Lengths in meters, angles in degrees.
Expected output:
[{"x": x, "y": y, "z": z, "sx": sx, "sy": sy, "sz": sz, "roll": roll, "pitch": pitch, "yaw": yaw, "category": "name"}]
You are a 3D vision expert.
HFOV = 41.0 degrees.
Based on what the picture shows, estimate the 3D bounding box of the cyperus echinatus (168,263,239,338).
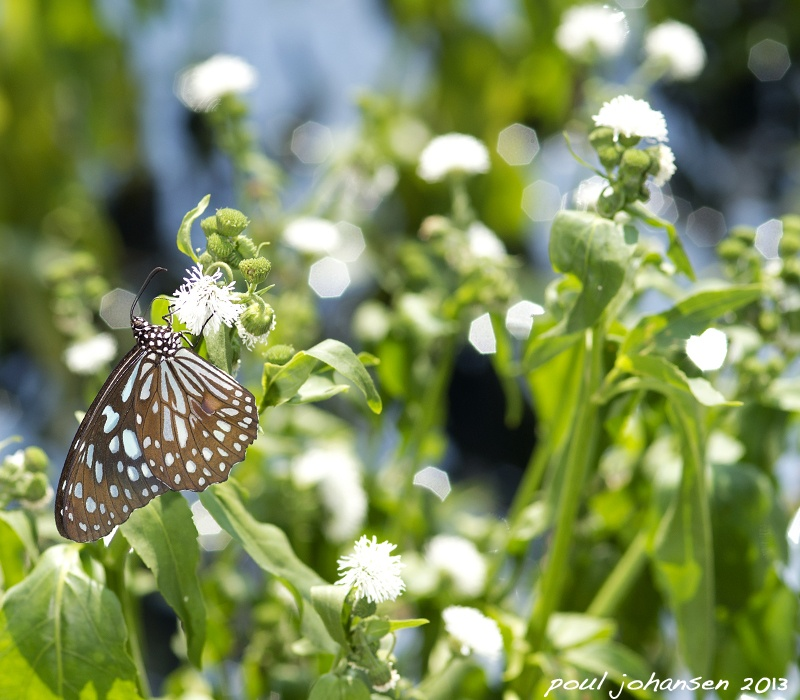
[{"x": -0.164, "y": -0.042, "z": 0.891, "sx": 0.041, "sy": 0.065, "sz": 0.051, "roll": -10, "pitch": 20, "yaw": -35, "category": "cyperus echinatus"}]

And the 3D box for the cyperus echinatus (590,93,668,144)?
[{"x": 0.207, "y": -0.208, "z": 0.953, "sx": 0.064, "sy": 0.046, "sz": 0.025, "roll": 1, "pitch": -2, "yaw": 19, "category": "cyperus echinatus"}]

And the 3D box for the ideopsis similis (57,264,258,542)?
[{"x": -0.224, "y": 0.048, "z": 0.966, "sx": 0.170, "sy": 0.252, "sz": 0.157, "roll": -6, "pitch": 13, "yaw": -21, "category": "ideopsis similis"}]

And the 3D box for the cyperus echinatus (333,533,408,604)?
[{"x": -0.030, "y": 0.171, "z": 0.946, "sx": 0.076, "sy": 0.074, "sz": 0.044, "roll": -5, "pitch": 12, "yaw": -41, "category": "cyperus echinatus"}]

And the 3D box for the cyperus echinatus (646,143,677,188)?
[{"x": 0.228, "y": -0.170, "z": 0.945, "sx": 0.013, "sy": 0.035, "sz": 0.037, "roll": 25, "pitch": -44, "yaw": -17, "category": "cyperus echinatus"}]
